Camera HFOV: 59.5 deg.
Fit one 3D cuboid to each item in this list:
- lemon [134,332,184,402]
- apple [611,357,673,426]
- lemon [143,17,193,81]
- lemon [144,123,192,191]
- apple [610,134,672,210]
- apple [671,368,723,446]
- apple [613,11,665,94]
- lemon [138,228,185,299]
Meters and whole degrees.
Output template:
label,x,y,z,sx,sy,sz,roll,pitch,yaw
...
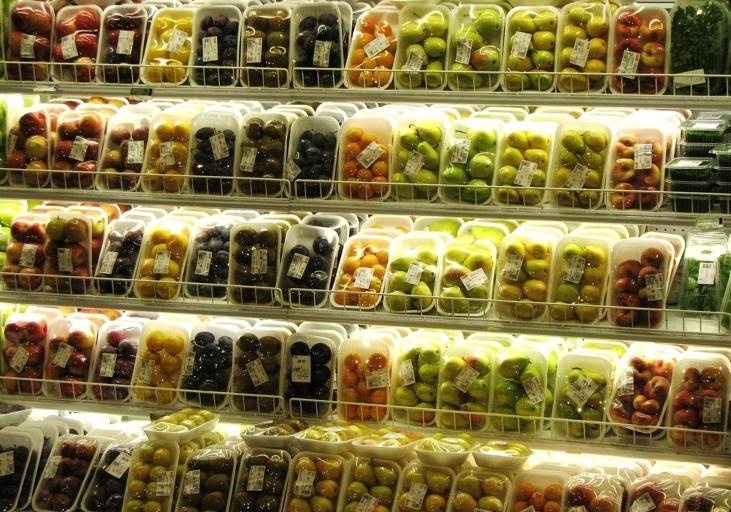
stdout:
label,x,y,z,sx,sy,sz,roll,pitch,yaw
lemon,-1.203,0.656,3.765,0.267,0.437,0.137,7,0,5
apple,1.448,0.693,3.341,0.337,0.316,0.200,-9,12,-33
lemon,-1.143,-1.199,3.735,0.236,0.456,0.142,3,-7,5
lemon,-1.152,-0.577,3.754,0.246,0.424,0.135,4,3,7
apple,1.405,-0.457,3.331,0.274,0.416,0.283,1,11,23
apple,1.672,0.769,3.230,0.242,0.419,0.133,6,2,18
apple,1.404,-1.070,3.295,0.263,0.461,0.229,2,11,25
lemon,-1.186,0.042,3.794,0.238,0.443,0.142,7,-2,9
